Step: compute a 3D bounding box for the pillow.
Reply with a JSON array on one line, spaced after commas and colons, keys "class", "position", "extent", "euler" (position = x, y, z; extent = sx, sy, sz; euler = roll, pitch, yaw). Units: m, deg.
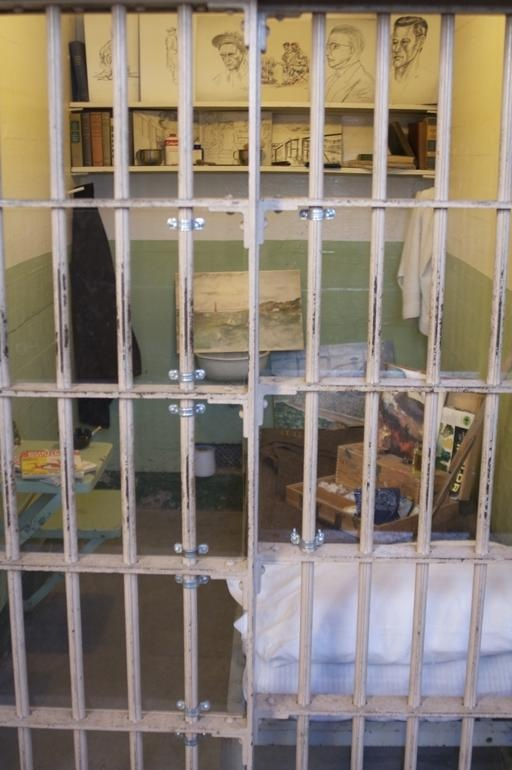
[{"class": "pillow", "position": [0.295, 0.508, 1.937], "extent": [0.455, 0.258, 0.116], "euler": [1, -61, -1]}]

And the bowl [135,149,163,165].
[{"class": "bowl", "position": [-0.502, -1.070, 4.073], "extent": [0.102, 0.087, 0.070], "euler": [0, -82, -14]}]

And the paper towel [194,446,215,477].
[{"class": "paper towel", "position": [-0.109, 0.159, 1.837], "extent": [0.054, 0.056, 0.061], "euler": [0, -87, 6]}]

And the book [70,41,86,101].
[{"class": "book", "position": [-0.820, -1.435, 3.983], "extent": [0.075, 0.126, 0.259], "euler": [0, -77, 1]}]

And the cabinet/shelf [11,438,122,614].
[{"class": "cabinet/shelf", "position": [-0.402, 0.301, 2.062], "extent": [0.267, 0.361, 0.354], "euler": [4, -81, 2]}]

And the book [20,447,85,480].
[{"class": "book", "position": [-0.464, 0.170, 1.862], "extent": [0.097, 0.029, 0.069], "euler": [-6, -77, 2]}]
